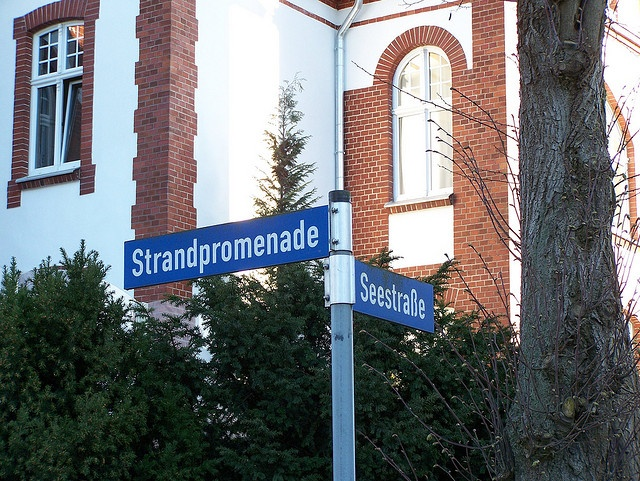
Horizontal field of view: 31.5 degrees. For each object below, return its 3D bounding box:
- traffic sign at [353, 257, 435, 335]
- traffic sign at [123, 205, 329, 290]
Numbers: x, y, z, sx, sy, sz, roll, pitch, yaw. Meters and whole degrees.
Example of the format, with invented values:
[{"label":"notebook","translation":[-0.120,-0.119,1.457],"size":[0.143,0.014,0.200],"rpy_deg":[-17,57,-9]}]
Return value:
[{"label":"traffic sign","translation":[0.600,0.470,9.487],"size":[0.004,0.409,0.924],"rpy_deg":[-6,12,-34]},{"label":"traffic sign","translation":[-0.826,0.080,9.422],"size":[1.793,0.451,0.008],"rpy_deg":[-9,-20,14]}]
